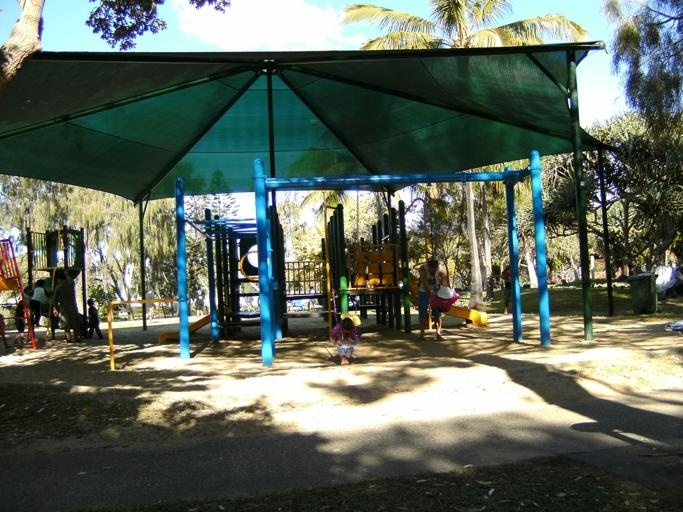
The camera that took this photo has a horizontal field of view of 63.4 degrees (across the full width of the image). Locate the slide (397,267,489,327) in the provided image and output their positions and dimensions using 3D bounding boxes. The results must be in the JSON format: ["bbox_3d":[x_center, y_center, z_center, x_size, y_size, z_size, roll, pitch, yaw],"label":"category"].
[{"bbox_3d":[2.954,1.122,14.280,1.644,1.493,2.293,3,0,-12],"label":"slide"}]

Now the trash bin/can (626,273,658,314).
[{"bbox_3d":[7.116,0.911,13.075,0.545,0.942,0.378,-2,2,34],"label":"trash bin/can"}]

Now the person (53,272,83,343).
[{"bbox_3d":[-7.202,1.322,14.572,0.614,1.922,0.889,-3,2,-35],"label":"person"}]
